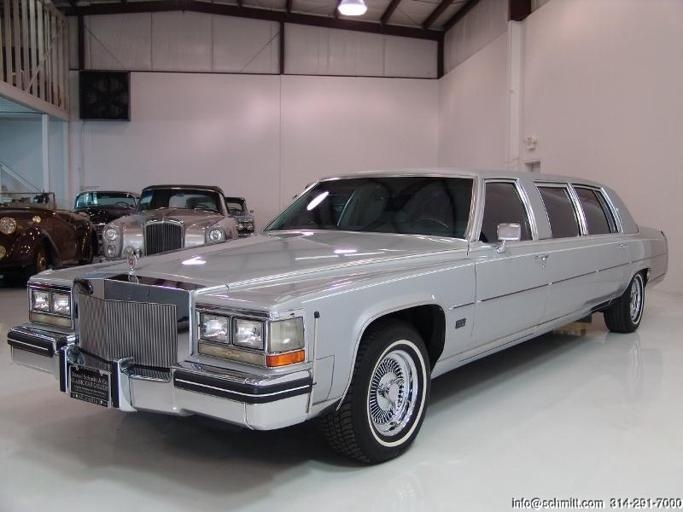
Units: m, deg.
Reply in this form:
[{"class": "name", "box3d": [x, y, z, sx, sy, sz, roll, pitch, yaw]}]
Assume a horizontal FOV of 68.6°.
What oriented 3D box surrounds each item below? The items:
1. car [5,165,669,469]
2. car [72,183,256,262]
[{"class": "car", "box3d": [0.735, 0.270, 4.011, 2.052, 1.376, 4.817, 1, 2, 41]}, {"class": "car", "box3d": [-2.721, -0.558, 8.640, 1.607, 1.200, 2.803, -1, 4, 0]}]
